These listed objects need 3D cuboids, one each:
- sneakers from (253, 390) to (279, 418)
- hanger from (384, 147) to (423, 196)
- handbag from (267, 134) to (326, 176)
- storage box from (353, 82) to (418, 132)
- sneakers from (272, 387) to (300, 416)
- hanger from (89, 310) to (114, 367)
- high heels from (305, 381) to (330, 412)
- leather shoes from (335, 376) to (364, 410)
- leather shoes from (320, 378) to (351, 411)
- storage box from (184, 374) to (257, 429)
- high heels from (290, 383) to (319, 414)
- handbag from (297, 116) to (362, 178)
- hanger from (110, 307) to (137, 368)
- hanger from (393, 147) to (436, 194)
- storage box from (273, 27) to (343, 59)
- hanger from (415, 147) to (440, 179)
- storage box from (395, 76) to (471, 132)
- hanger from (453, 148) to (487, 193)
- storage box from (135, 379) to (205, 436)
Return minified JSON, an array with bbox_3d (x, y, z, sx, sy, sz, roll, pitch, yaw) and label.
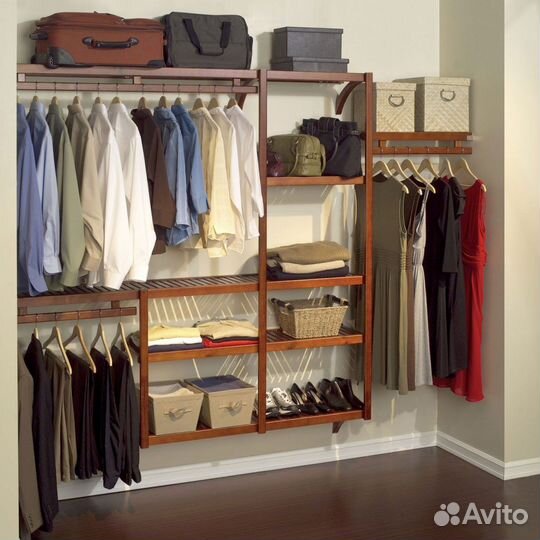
[{"bbox_3d":[-0.016,0.759,3.313,0.066,0.099,0.219,2,-6,-11],"label":"sneakers"},{"bbox_3d":[0.797,-0.594,3.562,0.023,0.158,0.297,-12,25,-17],"label":"hanger"},{"bbox_3d":[0.127,-0.641,3.272,0.184,0.257,0.374,-4,11,-42],"label":"handbag"},{"bbox_3d":[0.714,-0.985,3.653,0.315,0.320,0.364,-1,12,-3],"label":"storage box"},{"bbox_3d":[0.083,0.745,3.361,0.066,0.098,0.216,-3,-1,-17],"label":"sneakers"},{"bbox_3d":[-0.843,0.355,2.959,0.102,0.203,0.556,-1,4,-17],"label":"hanger"},{"bbox_3d":[0.278,0.710,3.409,0.059,0.064,0.206,-9,28,-15],"label":"high heels"},{"bbox_3d":[0.458,0.697,3.501,0.076,0.115,0.258,6,23,-39],"label":"leather shoes"},{"bbox_3d":[0.368,0.715,3.464,0.074,0.085,0.226,-3,16,-19],"label":"leather shoes"},{"bbox_3d":[-0.237,0.672,3.290,0.282,0.238,0.449,-1,13,-13],"label":"storage box"},{"bbox_3d":[0.192,0.736,3.405,0.065,0.095,0.214,-12,16,-16],"label":"high heels"},{"bbox_3d":[0.313,-0.677,3.332,0.339,0.347,0.159,6,-5,16],"label":"handbag"},{"bbox_3d":[-0.737,0.394,2.991,0.117,0.275,0.501,-1,3,-15],"label":"hanger"},{"bbox_3d":[0.871,-0.604,3.586,0.054,0.192,0.430,-16,41,-18],"label":"hanger"},{"bbox_3d":[0.204,-1.248,3.299,0.397,0.203,0.235,0,3,1],"label":"storage box"},{"bbox_3d":[0.964,-0.649,3.662,0.206,0.217,0.019,-5,12,-24],"label":"hanger"},{"bbox_3d":[1.014,-1.017,3.748,0.406,0.382,0.466,0,6,3],"label":"storage box"},{"bbox_3d":[1.202,-0.582,3.558,0.126,0.257,0.420,0,3,-1],"label":"hanger"},{"bbox_3d":[-0.497,0.713,3.122,0.280,0.208,0.364,-1,3,-13],"label":"storage box"}]
